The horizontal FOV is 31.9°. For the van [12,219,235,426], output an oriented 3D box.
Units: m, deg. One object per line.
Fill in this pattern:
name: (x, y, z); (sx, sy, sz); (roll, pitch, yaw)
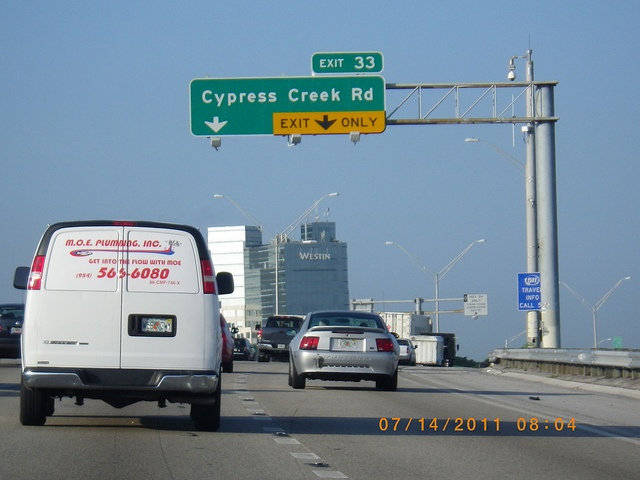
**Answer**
van: (-3.041, 0.754, 17.643); (3.103, 2.827, 5.171); (2, 8, -7)

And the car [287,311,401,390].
car: (0.445, 2.213, 24.204); (2.282, 1.576, 4.450); (1, 0, -4)

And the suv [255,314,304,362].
suv: (-1.530, 3.436, 39.105); (1.482, 1.278, 3.020); (0, -1, -1)

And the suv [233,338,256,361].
suv: (-3.457, 5.058, 50.892); (0.987, 0.801, 2.191); (0, 2, 6)
